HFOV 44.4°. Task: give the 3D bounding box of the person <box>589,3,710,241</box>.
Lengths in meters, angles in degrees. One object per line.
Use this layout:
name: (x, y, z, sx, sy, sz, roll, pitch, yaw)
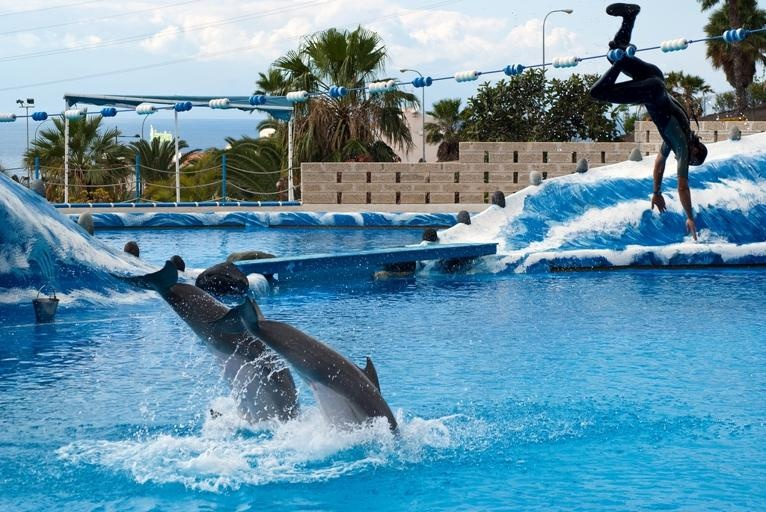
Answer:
person: (2.930, -1.458, 10.334, 1.521, 2.558, 0.690, -5, 15, -18)
